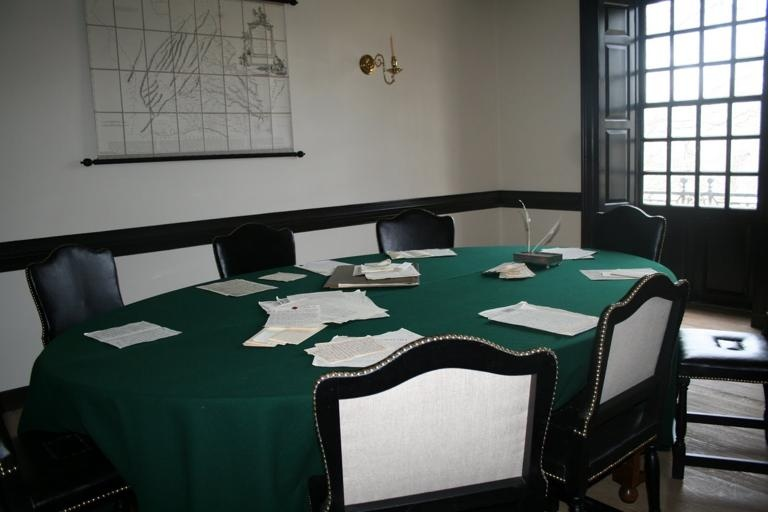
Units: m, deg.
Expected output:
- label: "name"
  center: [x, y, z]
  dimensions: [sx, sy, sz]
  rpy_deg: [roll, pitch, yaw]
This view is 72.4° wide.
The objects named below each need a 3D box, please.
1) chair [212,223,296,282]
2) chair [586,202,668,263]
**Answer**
- label: "chair"
  center: [-0.911, -0.051, 3.794]
  dimensions: [0.392, 0.663, 0.471]
  rpy_deg: [-6, 4, -34]
- label: "chair"
  center: [1.763, -0.193, 3.916]
  dimensions: [0.476, 0.700, 0.409]
  rpy_deg: [-7, 9, -44]
